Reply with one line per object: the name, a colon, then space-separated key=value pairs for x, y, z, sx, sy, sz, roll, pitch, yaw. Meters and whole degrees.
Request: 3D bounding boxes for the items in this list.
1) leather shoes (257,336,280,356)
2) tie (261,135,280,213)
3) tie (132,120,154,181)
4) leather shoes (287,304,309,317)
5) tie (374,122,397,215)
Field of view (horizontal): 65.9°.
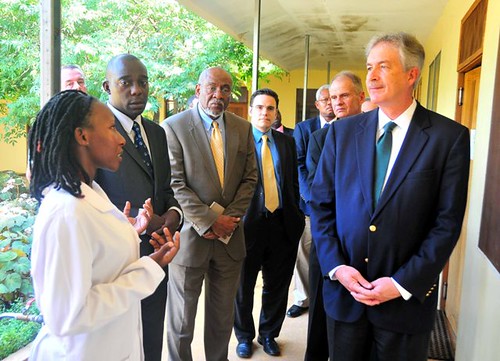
leather shoes: x=0.169 y=1.430 z=3.388 sx=0.193 sy=0.133 sz=0.195 roll=-2 pitch=1 yaw=-2
tie: x=0.176 y=-0.070 z=3.430 sx=0.144 sy=0.691 sz=0.221 roll=-2 pitch=2 yaw=1
tie: x=-0.662 y=-0.170 z=2.386 sx=0.060 sy=0.396 sz=0.055 roll=-24 pitch=-5 yaw=24
leather shoes: x=0.488 y=1.359 z=4.018 sx=0.255 sy=0.099 sz=0.084 roll=16 pitch=-13 yaw=-40
tie: x=0.775 y=-0.104 z=2.234 sx=0.104 sy=0.602 sz=0.036 roll=6 pitch=-23 yaw=22
